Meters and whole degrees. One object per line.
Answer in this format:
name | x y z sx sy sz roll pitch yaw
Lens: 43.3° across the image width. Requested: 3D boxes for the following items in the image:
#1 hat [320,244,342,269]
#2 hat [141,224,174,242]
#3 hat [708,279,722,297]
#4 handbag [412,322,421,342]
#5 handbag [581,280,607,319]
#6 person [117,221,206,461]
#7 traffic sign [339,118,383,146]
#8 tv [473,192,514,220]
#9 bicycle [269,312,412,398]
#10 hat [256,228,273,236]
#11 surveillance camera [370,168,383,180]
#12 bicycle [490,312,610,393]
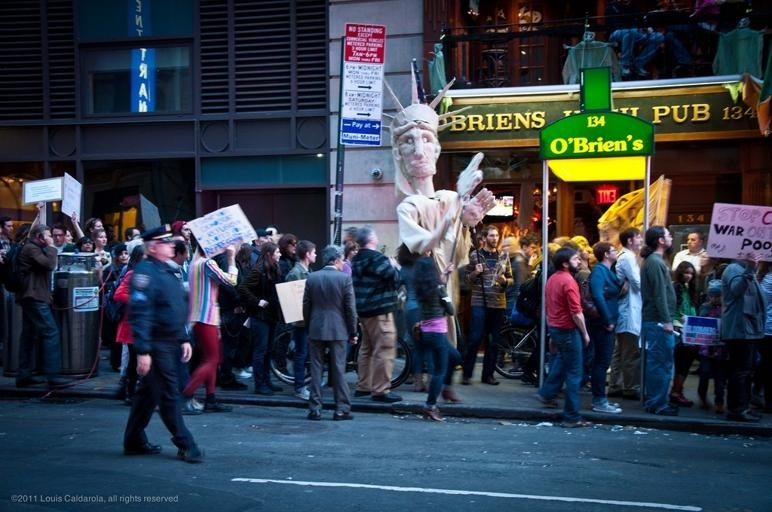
hat | -0.782 -0.038 15.019 0.378 0.330 0.274 -10 20 -21
hat | -3.056 -0.323 12.877 0.306 0.138 0.272 -12 -7 35
hat | 5.222 0.504 15.531 0.213 0.226 0.230 7 1 12
handbag | 0.485 1.131 14.650 0.092 0.217 0.167 5 -2 3
handbag | 3.223 0.680 15.041 0.273 0.587 0.458 -12 -18 3
person | -2.936 1.147 12.756 0.924 3.074 0.593 -1 1 -14
traffic sign | -0.402 -2.115 16.393 0.616 0.341 0.074 1 4 0
tv | 2.017 -0.944 17.933 0.843 0.512 0.108 0 -6 11
bicycle | -0.734 1.795 17.032 2.385 1.198 1.053 1 -3 4
hat | -2.190 -0.434 17.669 0.299 0.146 0.172 -12 4 2
surveillance camera | -0.142 -1.673 19.718 0.230 0.244 0.094 -1 1 -1
bicycle | 2.903 1.448 17.588 2.504 1.311 1.107 -5 16 -33
